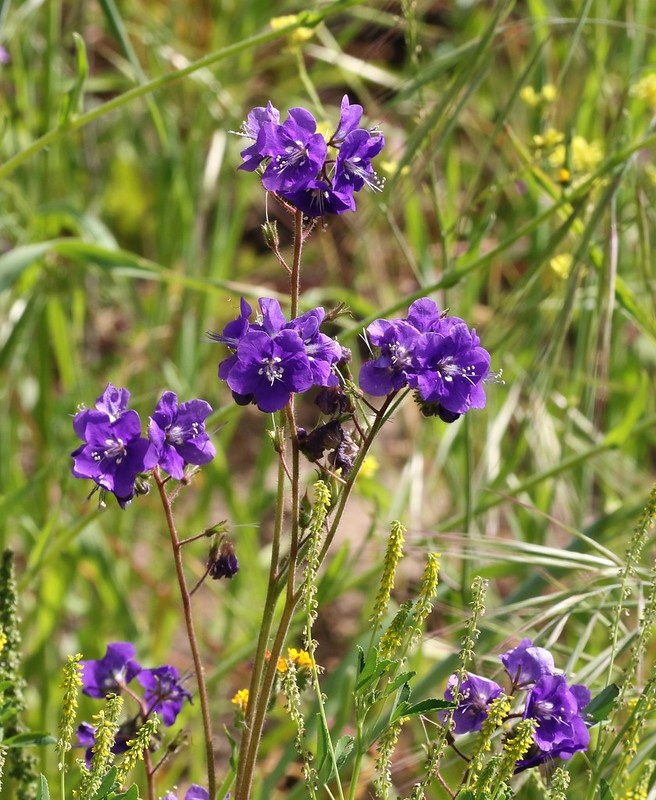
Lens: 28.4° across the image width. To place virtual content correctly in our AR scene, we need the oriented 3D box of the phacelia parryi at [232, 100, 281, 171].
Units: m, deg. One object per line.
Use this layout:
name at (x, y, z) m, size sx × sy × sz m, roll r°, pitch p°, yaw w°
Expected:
phacelia parryi at (-0.116, -0.428, 2.041) m, size 0.059 × 0.109 × 0.113 m, roll 17°, pitch 78°, yaw 5°

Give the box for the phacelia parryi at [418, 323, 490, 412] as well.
phacelia parryi at (0.180, -0.062, 2.015) m, size 0.121 × 0.066 × 0.133 m, roll 24°, pitch 86°, yaw -23°

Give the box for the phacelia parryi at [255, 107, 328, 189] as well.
phacelia parryi at (-0.045, -0.371, 1.968) m, size 0.105 × 0.057 × 0.123 m, roll -18°, pitch 89°, yaw 31°

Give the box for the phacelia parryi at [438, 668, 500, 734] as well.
phacelia parryi at (0.235, 0.482, 2.110) m, size 0.096 × 0.054 × 0.101 m, roll -52°, pitch 57°, yaw 24°

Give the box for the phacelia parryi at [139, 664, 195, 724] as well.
phacelia parryi at (-0.279, 0.528, 2.231) m, size 0.105 × 0.032 × 0.115 m, roll -3°, pitch 95°, yaw 23°
